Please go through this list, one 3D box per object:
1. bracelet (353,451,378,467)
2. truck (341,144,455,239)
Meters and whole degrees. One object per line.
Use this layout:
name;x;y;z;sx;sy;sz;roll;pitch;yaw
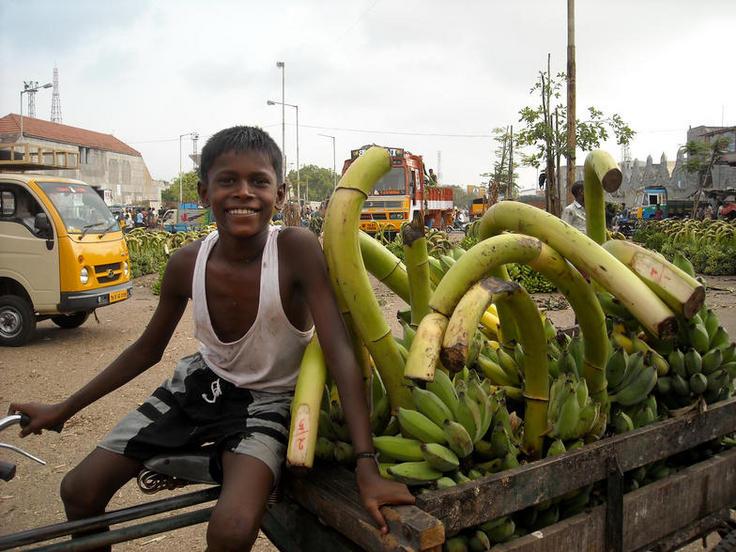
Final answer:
bracelet;-0.006;0.614;1.748;0.071;0.051;0.095;-2;8;-6
truck;1.143;-3.435;23.220;3.002;4.144;8.905;0;3;15
